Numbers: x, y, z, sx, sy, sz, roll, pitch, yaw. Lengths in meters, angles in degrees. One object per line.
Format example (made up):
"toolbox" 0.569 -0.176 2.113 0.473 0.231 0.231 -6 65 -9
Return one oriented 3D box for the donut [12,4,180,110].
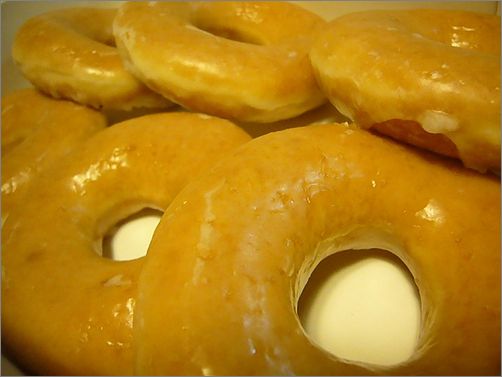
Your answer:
"donut" -0.349 -0.270 1.183 0.266 0.087 0.254 -5 45 -31
